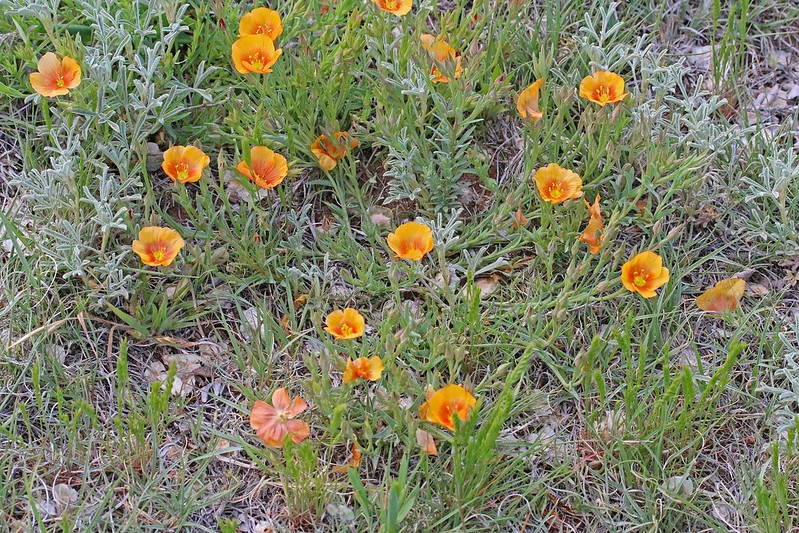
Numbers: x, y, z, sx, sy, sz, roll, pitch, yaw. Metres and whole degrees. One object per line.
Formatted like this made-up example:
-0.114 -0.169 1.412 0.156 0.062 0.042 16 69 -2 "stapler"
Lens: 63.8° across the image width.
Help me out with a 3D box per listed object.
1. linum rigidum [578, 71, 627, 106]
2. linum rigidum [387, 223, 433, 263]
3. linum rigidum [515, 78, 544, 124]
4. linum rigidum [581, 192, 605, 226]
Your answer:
0.956 -0.798 2.976 0.176 0.164 0.087 20 82 -20 "linum rigidum"
0.061 -0.093 2.743 0.223 0.250 0.166 6 93 4 "linum rigidum"
0.601 -0.756 2.929 0.105 0.127 0.217 3 90 21 "linum rigidum"
0.909 -0.273 3.019 0.063 0.079 0.207 -10 57 3 "linum rigidum"
